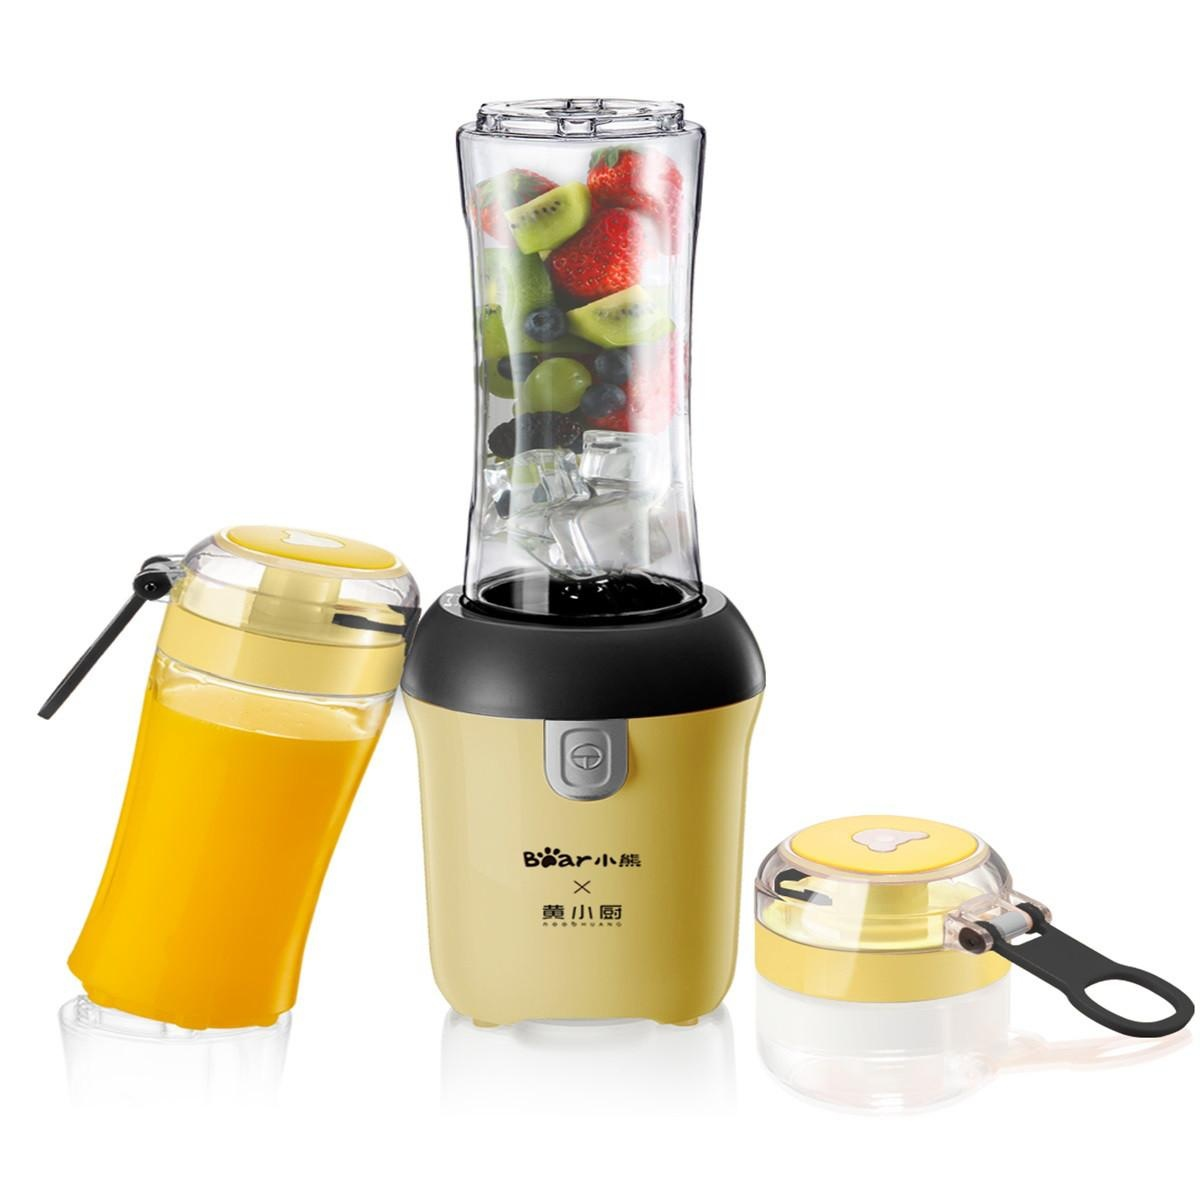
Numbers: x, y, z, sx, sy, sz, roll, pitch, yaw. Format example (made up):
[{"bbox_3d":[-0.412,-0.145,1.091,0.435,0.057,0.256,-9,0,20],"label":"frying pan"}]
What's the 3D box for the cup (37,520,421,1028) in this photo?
[{"bbox_3d":[-0.453,0.221,1.764,0.455,0.618,0.278,-4,18,-17],"label":"cup"}]
